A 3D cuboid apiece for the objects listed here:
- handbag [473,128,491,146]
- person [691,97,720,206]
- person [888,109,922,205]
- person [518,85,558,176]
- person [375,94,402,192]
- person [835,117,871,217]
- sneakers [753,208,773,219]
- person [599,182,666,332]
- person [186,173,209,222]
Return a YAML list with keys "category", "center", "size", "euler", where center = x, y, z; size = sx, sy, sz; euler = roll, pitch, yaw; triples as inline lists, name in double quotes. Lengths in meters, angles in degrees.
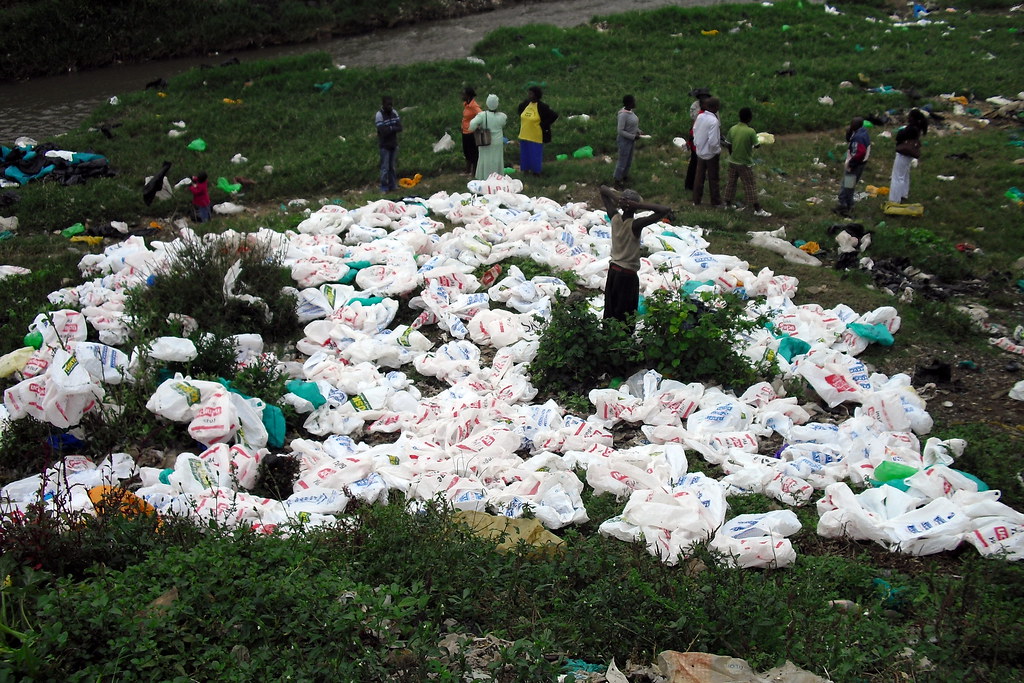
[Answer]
- category: "handbag"
  center: [-0.571, -3.861, 19.621]
  size: [0.374, 0.435, 0.280]
  euler: [0, 8, 4]
- category: "person"
  center: [3.532, -3.475, 19.005]
  size: [0.533, 1.898, 0.624]
  euler: [2, 27, 9]
- category: "person"
  center: [7.035, -3.301, 18.643]
  size: [0.424, 1.649, 0.848]
  euler: [7, 28, 18]
- category: "person"
  center: [0.437, -4.134, 20.276]
  size: [0.702, 1.629, 0.735]
  euler: [-2, 26, 0]
- category: "person"
  center: [-2.396, -3.832, 19.892]
  size: [0.469, 1.751, 0.926]
  euler: [-5, 26, -7]
- category: "person"
  center: [6.212, -3.279, 19.001]
  size: [0.439, 1.613, 1.473]
  euler: [6, 26, 16]
- category: "sneakers"
  center: [4.517, -2.356, 18.881]
  size: [0.306, 0.108, 0.281]
  euler: [2, 24, 7]
- category: "person"
  center: [1.663, -1.226, 14.909]
  size: [0.800, 1.932, 1.154]
  euler: [0, 26, 4]
- category: "person"
  center: [-5.706, -2.673, 18.904]
  size: [0.369, 0.877, 0.817]
  euler: [-10, 27, -16]
